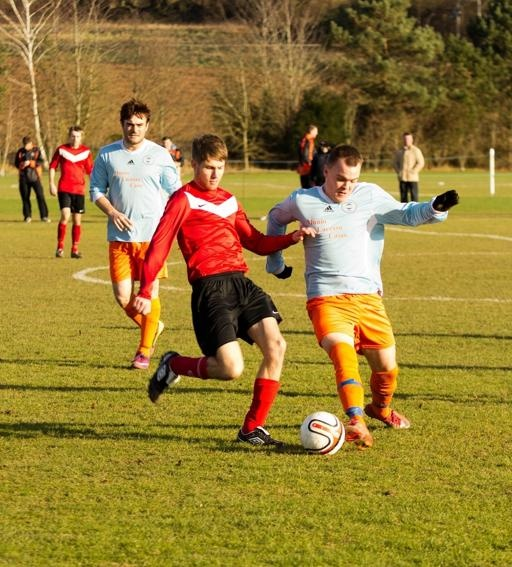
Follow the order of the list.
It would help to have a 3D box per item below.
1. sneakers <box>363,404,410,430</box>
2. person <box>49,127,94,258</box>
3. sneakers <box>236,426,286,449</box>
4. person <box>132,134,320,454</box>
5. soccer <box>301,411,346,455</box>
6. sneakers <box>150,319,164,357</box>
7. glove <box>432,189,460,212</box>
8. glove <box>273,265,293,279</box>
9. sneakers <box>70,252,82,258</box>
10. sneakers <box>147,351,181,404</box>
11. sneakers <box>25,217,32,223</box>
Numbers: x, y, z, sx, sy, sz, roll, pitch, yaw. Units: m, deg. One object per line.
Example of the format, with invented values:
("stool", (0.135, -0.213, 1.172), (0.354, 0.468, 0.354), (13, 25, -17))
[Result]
("sneakers", (0.763, 0.791, 5.221), (0.285, 0.118, 0.104), (21, 36, -9))
("person", (-2.621, -1.267, 12.705), (0.587, 1.848, 1.224), (-2, 10, -10))
("sneakers", (0.017, 0.839, 4.887), (0.288, 0.106, 0.090), (4, 6, -3))
("person", (-0.174, 0.043, 4.863), (0.895, 1.671, 0.598), (0, 10, 2))
("soccer", (0.348, 0.789, 4.668), (0.237, 0.245, 0.133), (-1, 10, -6))
("sneakers", (-0.809, 0.431, 7.106), (0.106, 0.280, 0.119), (14, 7, 5))
("glove", (0.991, -0.428, 4.711), (0.129, 0.123, 0.268), (1, 9, 10))
("glove", (0.162, -0.051, 5.232), (0.100, 0.082, 0.091), (-19, 26, 13))
("sneakers", (-2.598, -0.402, 12.895), (0.155, 0.093, 0.071), (0, 17, -2))
("sneakers", (-0.539, 0.551, 5.074), (0.164, 0.324, 0.127), (23, 8, 14))
("sneakers", (-4.800, -1.331, 18.771), (0.148, 0.133, 0.320), (0, -2, -16))
